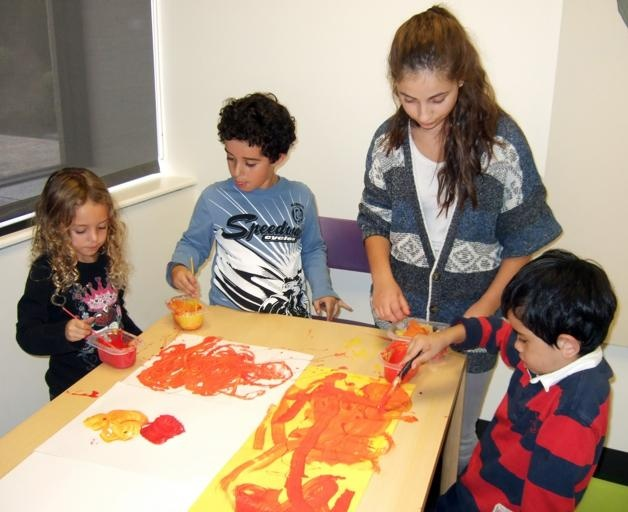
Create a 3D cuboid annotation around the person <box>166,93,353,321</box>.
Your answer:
[{"bbox_3d":[-0.244,-0.158,1.893,0.629,0.890,0.463,-7,12,-15],"label":"person"}]
